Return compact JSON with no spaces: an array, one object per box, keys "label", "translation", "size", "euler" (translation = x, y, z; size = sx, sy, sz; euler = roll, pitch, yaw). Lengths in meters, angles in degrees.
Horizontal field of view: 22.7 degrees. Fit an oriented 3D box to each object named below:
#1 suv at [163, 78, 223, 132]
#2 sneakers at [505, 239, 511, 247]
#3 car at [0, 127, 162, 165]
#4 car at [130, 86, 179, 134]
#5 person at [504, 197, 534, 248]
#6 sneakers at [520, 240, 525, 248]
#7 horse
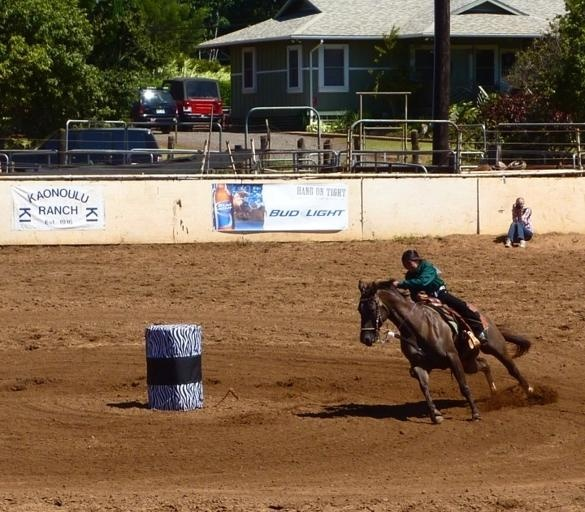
[{"label":"suv","translation":[-4.115,-6.447,61.275],"size":[1.969,2.162,3.781],"euler":[-1,7,-17]},{"label":"sneakers","translation":[5.817,-0.363,39.043],"size":[0.160,0.198,0.455],"euler":[-1,-5,10]},{"label":"car","translation":[-5.813,-3.217,42.297],"size":[3.147,1.593,1.799],"euler":[0,4,-3]},{"label":"car","translation":[-5.305,-6.148,58.050],"size":[1.478,1.548,3.027],"euler":[-1,-5,-4]},{"label":"person","translation":[6.137,-0.939,39.311],"size":[0.759,1.292,0.902],"euler":[-1,4,7]},{"label":"sneakers","translation":[6.203,-0.357,39.078],"size":[0.184,0.169,0.258],"euler":[4,16,2]},{"label":"horse","translation":[3.265,1.885,28.877],"size":[4.778,3.010,1.134],"euler":[-1,-16,-43]}]
